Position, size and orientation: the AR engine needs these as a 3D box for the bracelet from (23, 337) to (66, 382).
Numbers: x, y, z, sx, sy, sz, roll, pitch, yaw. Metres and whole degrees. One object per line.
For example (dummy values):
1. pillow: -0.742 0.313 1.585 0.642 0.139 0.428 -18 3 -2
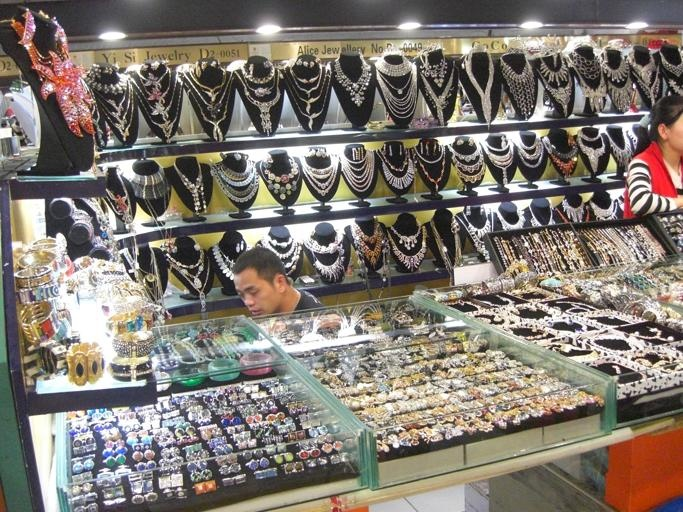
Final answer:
1. bracelet: -0.753 0.221 1.168 0.092 0.068 0.073 -7 -4 -16

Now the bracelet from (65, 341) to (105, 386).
1. bracelet: -0.639 0.227 1.142 0.090 0.085 0.084 -3 6 -39
